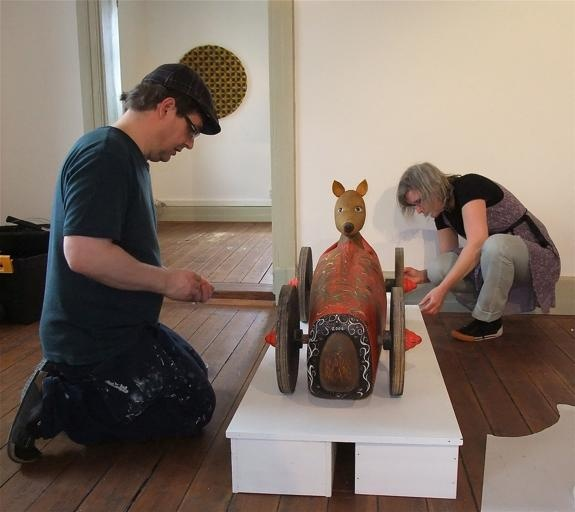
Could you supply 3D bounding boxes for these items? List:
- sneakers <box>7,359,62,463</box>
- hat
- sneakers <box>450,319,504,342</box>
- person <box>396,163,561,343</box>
[{"bbox_3d":[-0.792,0.483,1.371,0.075,0.331,0.152,9,-7,6],"label":"sneakers"},{"bbox_3d":[-0.310,-0.461,1.365,0.245,0.144,0.177,32,3,-27],"label":"hat"},{"bbox_3d":[0.983,0.391,2.296,0.253,0.135,0.111,-1,7,-3],"label":"sneakers"},{"bbox_3d":[0.946,-0.047,2.340,0.816,1.110,0.801,-2,3,15],"label":"person"}]
